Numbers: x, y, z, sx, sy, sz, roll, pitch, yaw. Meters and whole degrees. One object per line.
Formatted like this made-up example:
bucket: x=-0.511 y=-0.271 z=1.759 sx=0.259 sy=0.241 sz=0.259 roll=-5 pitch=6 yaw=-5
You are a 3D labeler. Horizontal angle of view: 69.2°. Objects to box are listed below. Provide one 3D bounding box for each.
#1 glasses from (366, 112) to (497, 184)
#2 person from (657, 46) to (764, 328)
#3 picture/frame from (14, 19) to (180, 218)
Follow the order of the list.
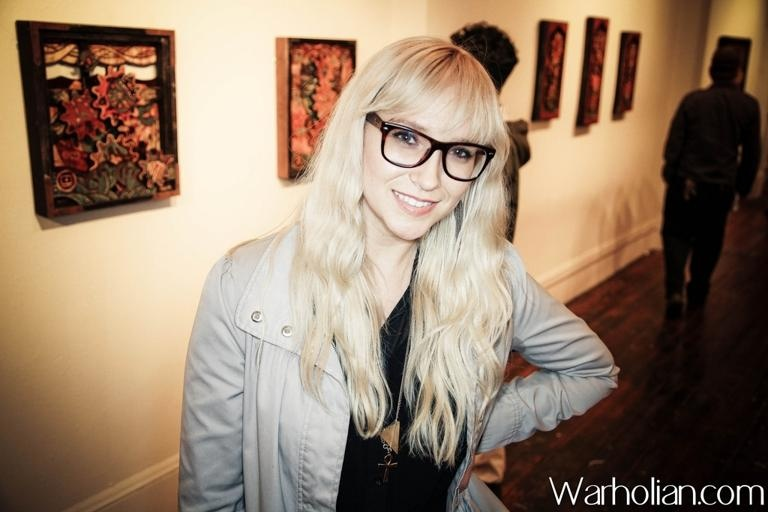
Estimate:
glasses: x=0.140 y=-0.330 z=1.686 sx=0.382 sy=0.211 sz=0.121 roll=-4 pitch=18 yaw=-8
person: x=1.488 y=-0.303 z=2.580 sx=0.359 sy=1.252 sz=0.170 roll=8 pitch=20 yaw=27
picture/frame: x=-1.124 y=-0.549 z=2.135 sx=0.672 sy=0.853 sz=0.113 roll=-12 pitch=19 yaw=-42
